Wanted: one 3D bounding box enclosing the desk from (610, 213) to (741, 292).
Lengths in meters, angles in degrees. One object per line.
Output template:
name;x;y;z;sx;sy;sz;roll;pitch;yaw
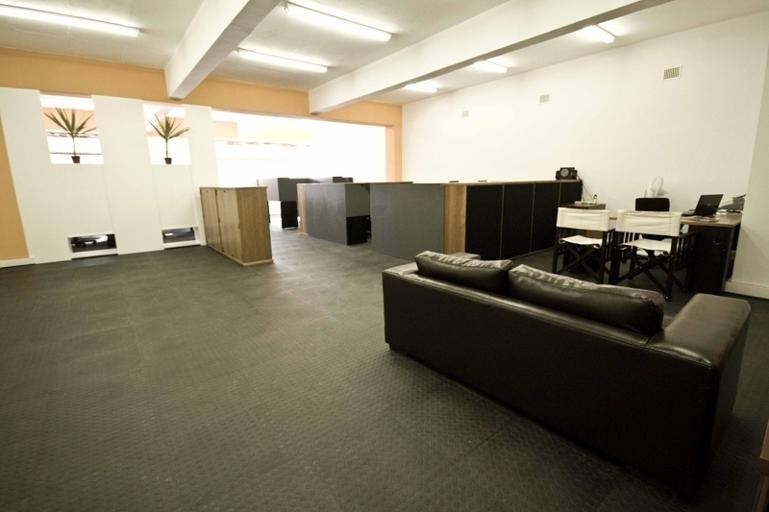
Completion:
desk;4.147;-0.031;6.816;1.003;0.892;0.762;-4;10;-25

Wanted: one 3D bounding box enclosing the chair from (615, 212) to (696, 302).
chair;3.683;-0.054;6.808;0.828;1.138;0.870;8;4;31

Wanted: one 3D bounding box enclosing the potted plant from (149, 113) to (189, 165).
potted plant;-4.393;-2.352;9.828;0.764;0.909;0.951;7;13;32

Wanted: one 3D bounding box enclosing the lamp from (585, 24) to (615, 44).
lamp;3.587;-3.804;8.086;0.392;0.087;0.256;-2;8;-34

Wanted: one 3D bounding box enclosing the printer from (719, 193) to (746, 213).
printer;5.421;-0.826;7.503;0.631;0.230;0.355;-9;14;-37

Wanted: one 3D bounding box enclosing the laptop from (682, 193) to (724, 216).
laptop;4.893;-0.794;7.397;0.368;0.280;0.456;15;-7;-27

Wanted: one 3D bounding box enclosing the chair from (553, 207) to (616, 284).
chair;2.998;-0.157;7.234;0.725;1.045;0.772;7;3;34

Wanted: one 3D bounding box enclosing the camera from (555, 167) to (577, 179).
camera;3.511;-1.593;9.306;0.253;0.223;0.327;-10;13;-44

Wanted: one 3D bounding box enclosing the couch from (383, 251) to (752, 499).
couch;1.738;1.030;4.849;2.905;1.933;0.840;6;13;32

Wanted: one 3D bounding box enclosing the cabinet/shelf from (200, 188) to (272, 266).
cabinet/shelf;-2.852;-0.690;9.281;0.640;1.317;2.371;-9;13;-32

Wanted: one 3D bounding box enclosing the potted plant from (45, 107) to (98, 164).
potted plant;-5.783;-2.234;8.984;0.807;0.999;0.882;-3;1;8

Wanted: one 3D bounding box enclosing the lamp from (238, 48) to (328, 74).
lamp;-1.895;-3.610;8.945;1.057;0.103;0.175;3;-30;-46

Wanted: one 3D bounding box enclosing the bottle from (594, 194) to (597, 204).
bottle;4.068;-1.119;9.310;0.087;0.145;0.042;3;12;20
